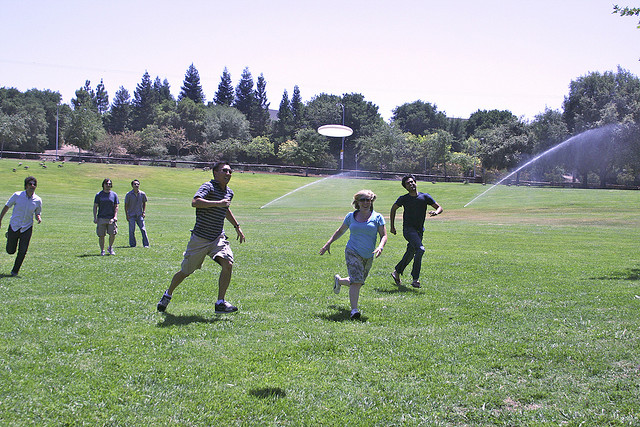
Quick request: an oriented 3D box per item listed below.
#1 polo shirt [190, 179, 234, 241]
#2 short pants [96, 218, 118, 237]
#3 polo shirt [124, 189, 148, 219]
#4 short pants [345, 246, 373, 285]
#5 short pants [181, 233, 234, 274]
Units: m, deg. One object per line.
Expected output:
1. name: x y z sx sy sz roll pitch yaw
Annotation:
1. polo shirt: -2.030 -0.046 9.810 0.757 1.127 0.454 -4 13 -17
2. short pants: -6.121 0.389 14.818 0.775 0.673 0.426 3 -5 -33
3. polo shirt: -5.783 -0.289 16.371 0.536 0.850 0.497 -3 13 -13
4. short pants: 0.732 1.002 9.905 0.473 0.656 0.367 1 12 2
5. short pants: -2.158 0.783 9.847 0.926 0.774 0.410 -3 13 -16
